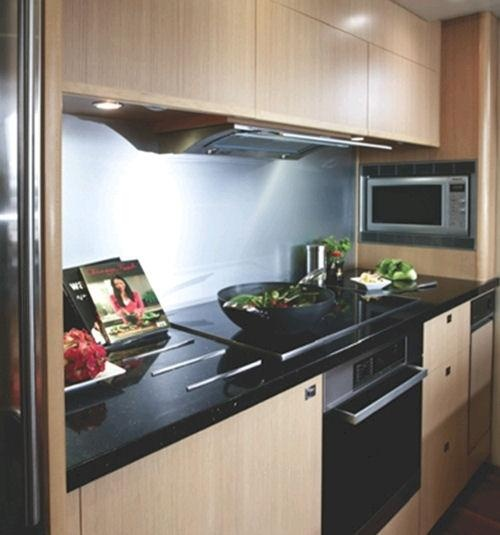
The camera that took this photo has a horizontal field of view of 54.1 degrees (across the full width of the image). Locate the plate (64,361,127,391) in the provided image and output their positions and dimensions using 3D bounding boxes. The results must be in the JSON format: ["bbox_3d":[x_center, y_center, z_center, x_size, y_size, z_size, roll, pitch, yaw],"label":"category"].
[{"bbox_3d":[-0.374,0.257,1.183,0.080,0.011,0.058,-12,14,-43],"label":"plate"}]

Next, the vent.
[{"bbox_3d":[0.021,-0.449,1.802,0.414,0.079,0.889,10,14,41],"label":"vent"}]

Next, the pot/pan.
[{"bbox_3d":[0.095,0.096,1.734,0.493,0.139,0.445,5,8,42],"label":"pot/pan"}]
